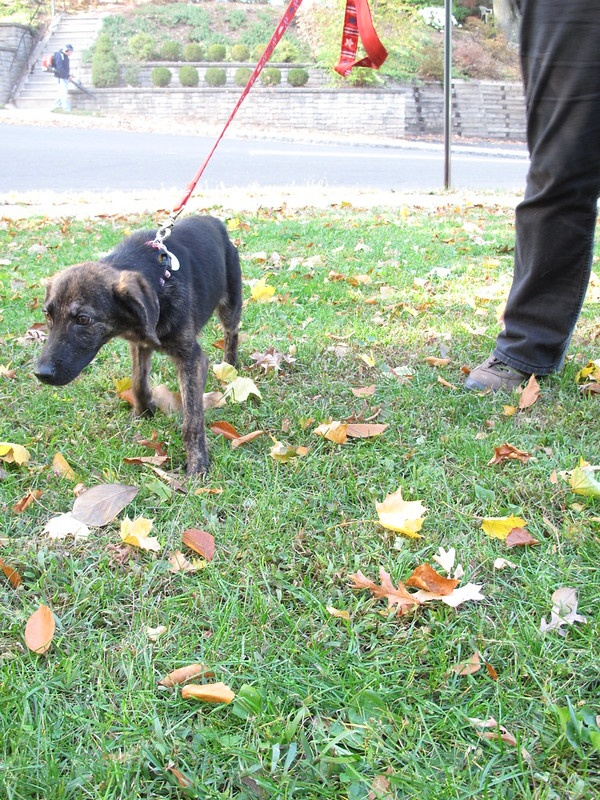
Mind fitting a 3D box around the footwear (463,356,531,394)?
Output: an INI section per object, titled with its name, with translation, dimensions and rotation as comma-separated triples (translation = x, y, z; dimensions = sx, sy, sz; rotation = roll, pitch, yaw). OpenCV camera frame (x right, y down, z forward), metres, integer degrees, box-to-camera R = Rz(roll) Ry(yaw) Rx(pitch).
[footwear]
translation = 0.848, -0.107, 3.084
dimensions = 0.322, 0.110, 0.130
rotation = -15, -9, -31
